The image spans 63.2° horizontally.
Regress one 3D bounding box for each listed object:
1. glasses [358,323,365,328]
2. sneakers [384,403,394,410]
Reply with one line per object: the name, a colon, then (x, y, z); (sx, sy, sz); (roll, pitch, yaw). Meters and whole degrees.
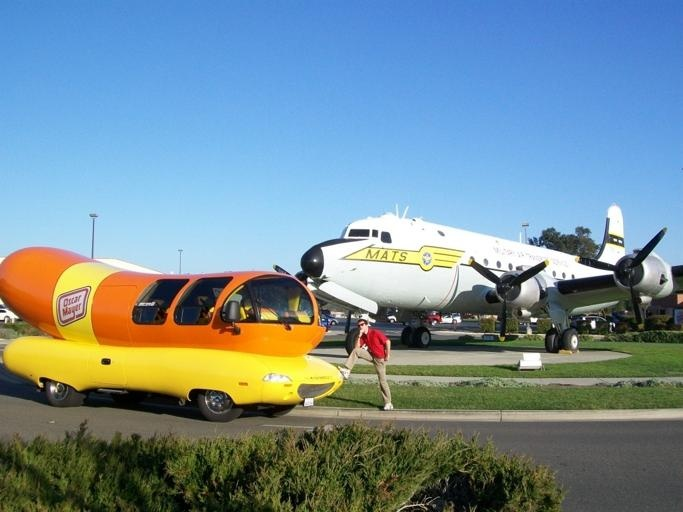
glasses: (0.483, 1.707, 13.522); (0.127, 0.124, 0.051); (4, 31, 18)
sneakers: (1.038, 3.333, 12.298); (0.223, 0.146, 0.287); (1, -6, 3)
